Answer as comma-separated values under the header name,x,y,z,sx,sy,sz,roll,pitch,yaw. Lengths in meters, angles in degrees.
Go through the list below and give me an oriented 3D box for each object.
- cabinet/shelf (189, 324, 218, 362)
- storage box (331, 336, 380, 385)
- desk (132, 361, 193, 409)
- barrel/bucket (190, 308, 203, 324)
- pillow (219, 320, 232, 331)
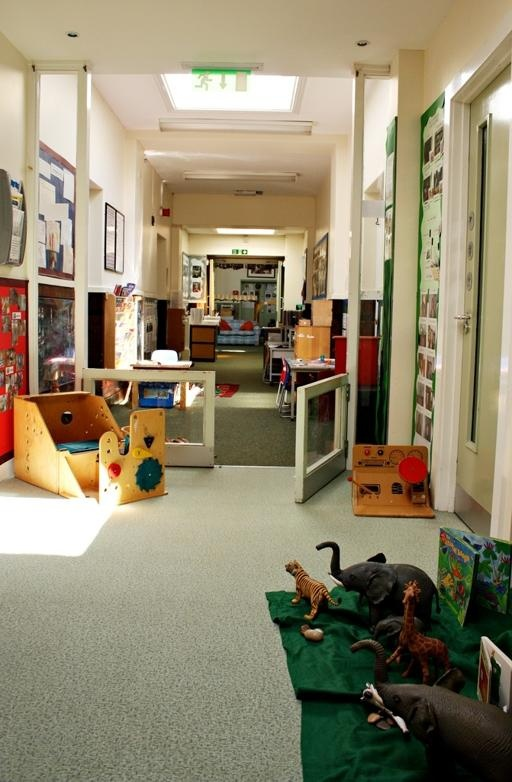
name,x,y,z,sx,sy,sz,roll,pitch,yaw
cabinet/shelf,-1.424,-1.224,13.846,0.658,0.968,0.660,0,3,-8
storage box,0.855,-0.262,4.662,0.246,0.443,0.723,0,3,-5
desk,-1.157,-0.228,6.080,0.570,0.504,0.606,1,17,1
barrel/bucket,-1.566,-1.932,13.733,0.287,0.381,0.262,0,3,0
pillow,-1.274,-2.560,20.739,0.351,0.440,0.117,-8,12,-30
